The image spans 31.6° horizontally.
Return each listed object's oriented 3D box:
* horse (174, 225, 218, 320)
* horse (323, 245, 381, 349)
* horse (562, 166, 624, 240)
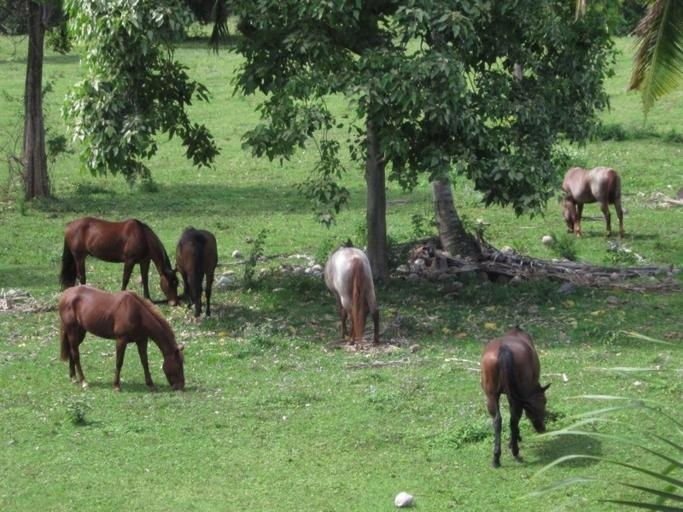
[{"bbox_3d":[-3.674,0.405,30.687,0.964,2.291,0.734,-2,5,-15],"label":"horse"},{"bbox_3d":[0.240,0.989,29.996,0.743,2.406,1.346,-5,6,-38],"label":"horse"},{"bbox_3d":[7.503,-1.767,37.092,0.680,2.526,2.789,-7,2,-25],"label":"horse"}]
